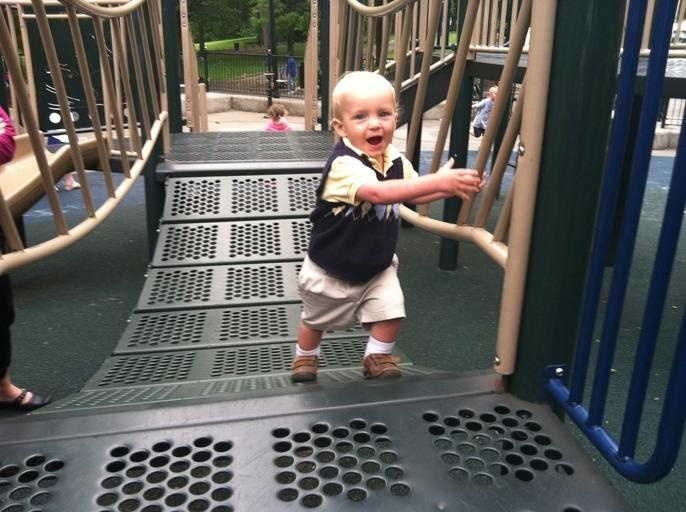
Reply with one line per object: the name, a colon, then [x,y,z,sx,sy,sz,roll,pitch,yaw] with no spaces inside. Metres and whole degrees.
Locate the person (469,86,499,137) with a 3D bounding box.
person: [2.554,-2.497,8.725,0.521,0.825,0.462,14,15,7]

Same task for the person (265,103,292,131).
person: [-1.022,-2.143,7.580,0.300,0.388,1.264,-5,28,-8]
